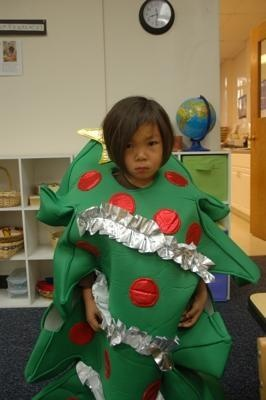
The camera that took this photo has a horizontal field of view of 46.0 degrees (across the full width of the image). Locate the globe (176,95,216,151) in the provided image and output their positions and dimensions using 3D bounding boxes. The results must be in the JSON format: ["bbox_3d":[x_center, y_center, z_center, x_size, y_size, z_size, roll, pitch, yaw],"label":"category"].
[{"bbox_3d":[0.432,-0.530,2.161,0.249,0.362,0.296,-20,25,-34],"label":"globe"}]
